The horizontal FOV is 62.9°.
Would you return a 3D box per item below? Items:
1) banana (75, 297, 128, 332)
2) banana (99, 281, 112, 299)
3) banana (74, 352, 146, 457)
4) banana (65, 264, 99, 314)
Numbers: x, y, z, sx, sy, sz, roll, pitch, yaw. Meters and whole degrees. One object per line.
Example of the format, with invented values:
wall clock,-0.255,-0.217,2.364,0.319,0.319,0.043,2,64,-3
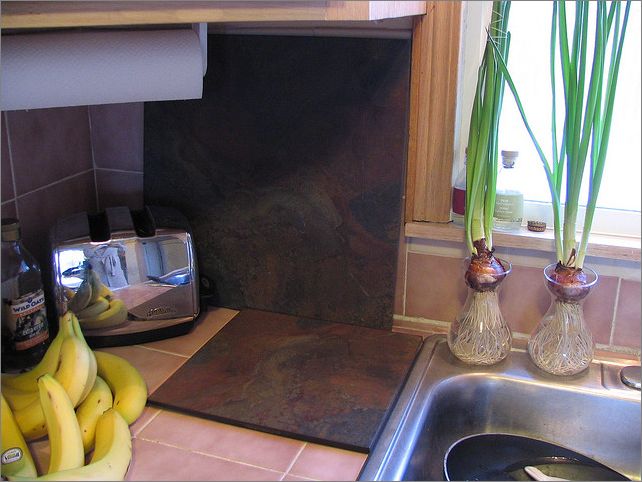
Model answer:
banana,-0.503,0.168,1.204,0.093,0.035,0.069,-3,24,35
banana,-0.491,0.110,1.190,0.020,0.035,0.013,-20,11,-14
banana,-0.419,0.319,1.057,0.140,0.047,0.187,19,27,-29
banana,-0.528,0.111,1.175,0.086,0.143,0.045,4,-8,46
